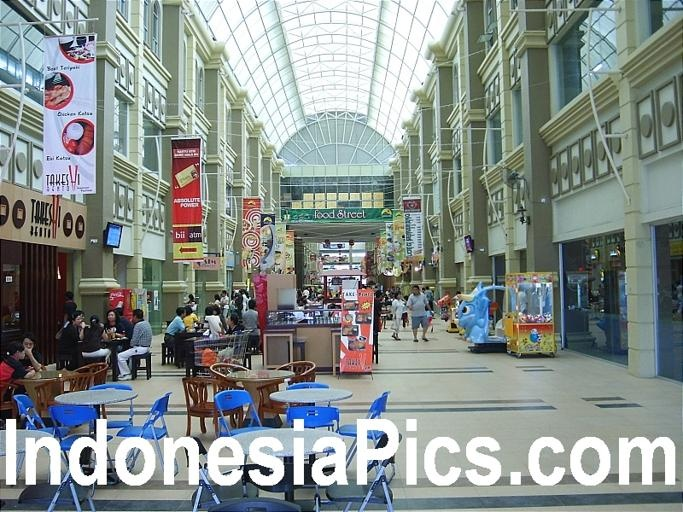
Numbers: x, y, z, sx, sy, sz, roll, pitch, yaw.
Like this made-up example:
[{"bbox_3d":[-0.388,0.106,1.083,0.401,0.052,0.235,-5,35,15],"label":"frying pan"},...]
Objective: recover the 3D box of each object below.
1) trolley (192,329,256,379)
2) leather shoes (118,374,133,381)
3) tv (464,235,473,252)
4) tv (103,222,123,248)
[{"bbox_3d":[-2.777,2.183,15.022,1.241,1.077,0.827,1,-2,1],"label":"trolley"},{"bbox_3d":[-5.205,2.923,16.016,0.337,0.175,0.127,6,-4,-3],"label":"leather shoes"},{"bbox_3d":[5.220,-0.521,27.437,0.111,0.950,0.643,1,0,-23],"label":"tv"},{"bbox_3d":[-6.972,-0.652,20.237,0.239,0.689,0.749,2,0,6],"label":"tv"}]
